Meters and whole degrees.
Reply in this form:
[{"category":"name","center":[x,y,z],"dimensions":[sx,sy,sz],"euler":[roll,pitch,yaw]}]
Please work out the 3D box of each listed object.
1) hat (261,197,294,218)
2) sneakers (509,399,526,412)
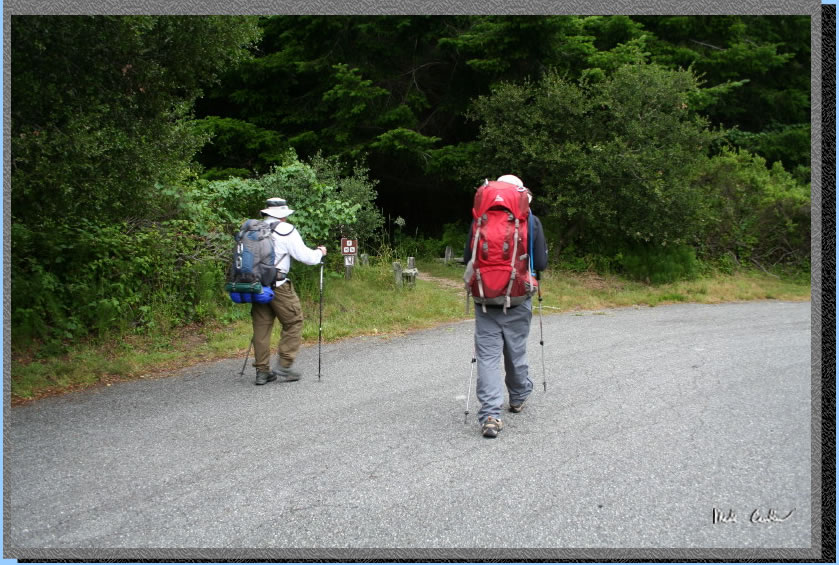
[{"category":"hat","center":[-2.288,-1.197,10.654],"dimensions":[0.410,0.275,0.496],"euler":[2,12,-27]},{"category":"sneakers","center":[1.366,1.715,9.273],"dimensions":[0.110,0.145,0.318],"euler":[1,1,21]}]
